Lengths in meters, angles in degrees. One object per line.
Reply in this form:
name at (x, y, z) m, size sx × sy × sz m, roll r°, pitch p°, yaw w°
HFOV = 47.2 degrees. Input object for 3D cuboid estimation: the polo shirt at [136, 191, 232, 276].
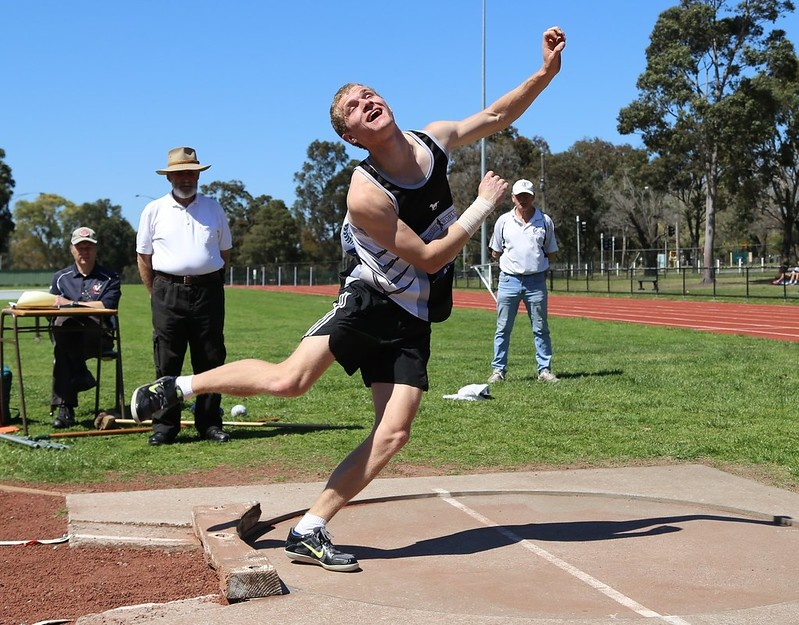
polo shirt at (-1.809, -0.667, 7.669) m, size 0.829 × 0.617 × 0.448 m, roll -2°, pitch 16°, yaw -10°

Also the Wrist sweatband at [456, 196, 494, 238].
Wrist sweatband at (0.418, -0.545, 5.152) m, size 0.163 × 0.265 × 0.106 m, roll 40°, pitch -11°, yaw 8°

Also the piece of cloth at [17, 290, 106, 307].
piece of cloth at (-3.008, -0.121, 7.898) m, size 0.553 × 0.117 × 0.701 m, roll -1°, pitch 0°, yaw 24°

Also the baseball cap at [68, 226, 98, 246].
baseball cap at (-2.971, -0.731, 8.499) m, size 0.252 × 0.177 × 0.356 m, roll 2°, pitch -7°, yaw -15°

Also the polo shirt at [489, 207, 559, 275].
polo shirt at (1.431, -0.831, 10.474) m, size 0.835 × 0.728 × 0.447 m, roll 0°, pitch 8°, yaw 13°

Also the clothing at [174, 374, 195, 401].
clothing at (-1.234, 0.421, 5.183) m, size 0.059 × 0.137 × 0.110 m, roll -4°, pitch 14°, yaw -27°

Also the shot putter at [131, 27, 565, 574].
shot putter at (-0.234, 0.000, 5.183) m, size 2.115 × 2.617 × 0.804 m, roll -1°, pitch 0°, yaw -1°

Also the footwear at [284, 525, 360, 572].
footwear at (-0.419, 1.254, 4.881) m, size 0.446 × 0.188 × 0.142 m, roll 5°, pitch -3°, yaw 29°
